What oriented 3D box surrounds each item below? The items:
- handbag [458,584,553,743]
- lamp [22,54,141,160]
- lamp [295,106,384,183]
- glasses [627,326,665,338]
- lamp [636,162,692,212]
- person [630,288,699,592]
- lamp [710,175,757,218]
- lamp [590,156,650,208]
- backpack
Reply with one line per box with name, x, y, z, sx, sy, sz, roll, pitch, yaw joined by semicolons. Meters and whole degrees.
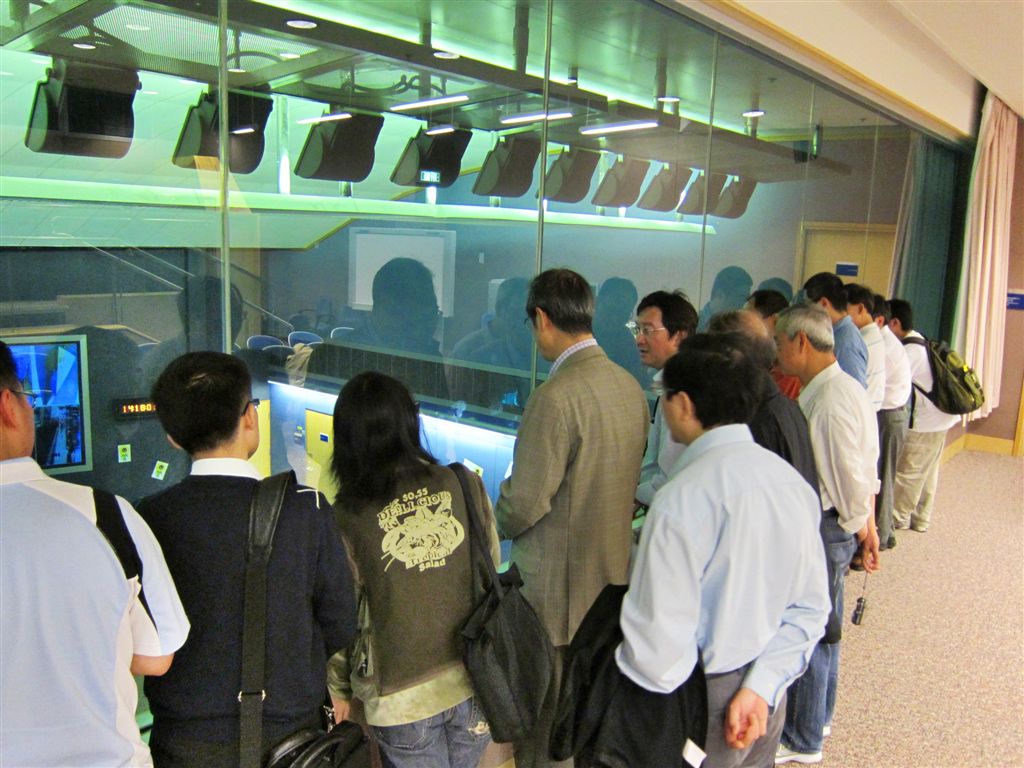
handbag;-0.066;0.810;2.435;0.311;0.428;0.160;-7;-10;-40
lamp;-1.184;-0.785;2.291;0.152;0.279;0.270;18;18;19
lamp;-0.554;-0.762;2.689;0.244;0.244;0.055;1;26;-47
glasses;0.524;-0.206;3.225;0.099;0.031;0.098;3;-1;-31
lamp;0.706;-0.909;3.852;0.201;0.262;0.059;5;17;-39
person;0.601;0.249;3.429;0.381;1.306;0.337;6;26;22
lamp;1.147;-0.952;4.266;0.165;0.320;0.072;19;0;-33
lamp;0.480;-0.885;3.655;0.191;0.267;0.061;7;10;-38
backpack;2.949;-0.032;5.692;0.495;0.546;0.339;-8;-4;44
